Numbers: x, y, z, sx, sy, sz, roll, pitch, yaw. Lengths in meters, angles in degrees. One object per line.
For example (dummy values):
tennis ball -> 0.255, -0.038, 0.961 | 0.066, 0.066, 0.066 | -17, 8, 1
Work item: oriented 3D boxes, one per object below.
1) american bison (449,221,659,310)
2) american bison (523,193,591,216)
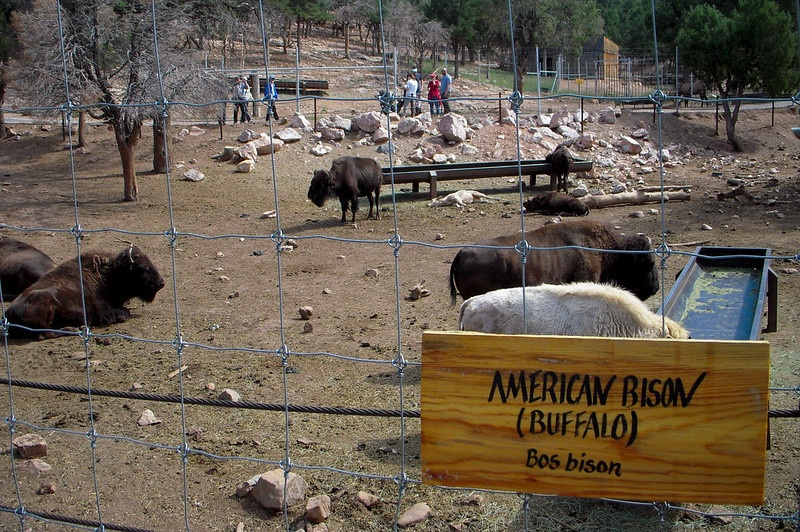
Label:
american bison -> 2.031, 0.019, 11.558 | 2.265, 1.172, 0.597 | -9, 38, -4
american bison -> 3.350, -1.322, 19.389 | 1.812, 0.599, 0.633 | 9, 9, 44
